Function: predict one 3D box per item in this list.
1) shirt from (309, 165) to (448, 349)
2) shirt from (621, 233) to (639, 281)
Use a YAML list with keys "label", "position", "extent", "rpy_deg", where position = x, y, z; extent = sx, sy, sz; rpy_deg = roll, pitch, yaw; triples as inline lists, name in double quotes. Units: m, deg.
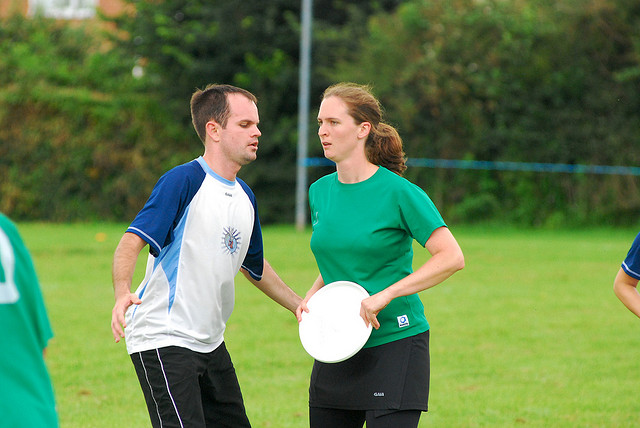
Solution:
- label: "shirt"
  position: [0.595, 0.541, 11.472]
  extent: [2.158, 2.340, 1.098]
  rpy_deg: [-3, -4, 42]
- label: "shirt"
  position: [3.877, 0.523, 11.387]
  extent: [0.217, 0.576, 0.197]
  rpy_deg: [4, 12, 18]
